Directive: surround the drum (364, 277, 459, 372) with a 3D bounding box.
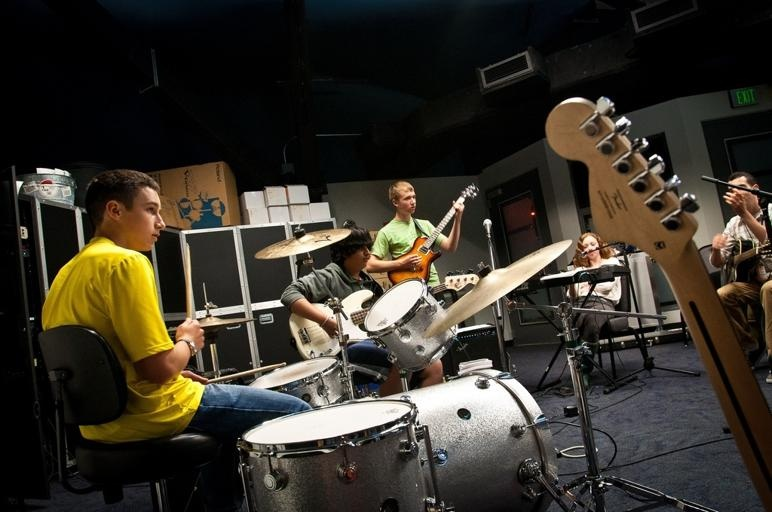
[{"bbox_3d":[0.205,0.534,3.671,0.465,0.368,0.462,-29,-9,-5],"label":"drum"}]

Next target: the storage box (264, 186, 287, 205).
[{"bbox_3d":[-1.496,-0.815,7.574,0.243,0.224,0.129,-7,3,-19],"label":"storage box"}]

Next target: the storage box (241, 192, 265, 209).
[{"bbox_3d":[-1.804,-0.758,7.595,0.256,0.179,0.258,-6,-2,38],"label":"storage box"}]

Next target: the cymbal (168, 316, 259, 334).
[{"bbox_3d":[-1.595,0.635,5.145,0.660,0.147,0.646,-7,-3,-16],"label":"cymbal"}]

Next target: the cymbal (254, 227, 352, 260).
[{"bbox_3d":[-0.764,-0.104,4.546,0.646,0.123,0.633,-5,-12,-35],"label":"cymbal"}]

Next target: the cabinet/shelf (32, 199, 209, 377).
[{"bbox_3d":[-1.393,0.134,2.965,0.882,1.073,0.695,-7,-2,41],"label":"cabinet/shelf"}]

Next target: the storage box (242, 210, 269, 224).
[{"bbox_3d":[-1.743,-0.537,7.515,0.236,0.228,0.242,-15,3,7],"label":"storage box"}]

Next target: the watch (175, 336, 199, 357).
[{"bbox_3d":[-1.012,0.464,2.824,0.027,0.092,0.100,-29,-19,33],"label":"watch"}]

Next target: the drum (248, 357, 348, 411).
[{"bbox_3d":[-0.464,0.781,3.453,0.368,0.127,0.346,-16,1,0],"label":"drum"}]

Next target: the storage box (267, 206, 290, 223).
[{"bbox_3d":[-1.435,-0.562,7.592,0.236,0.224,0.246,-15,3,2],"label":"storage box"}]

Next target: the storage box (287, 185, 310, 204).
[{"bbox_3d":[-1.203,-0.854,7.684,0.279,0.200,0.259,-4,-5,-16],"label":"storage box"}]

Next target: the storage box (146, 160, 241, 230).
[{"bbox_3d":[-2.680,-0.701,7.973,0.721,0.877,1.296,-9,-6,-29],"label":"storage box"}]

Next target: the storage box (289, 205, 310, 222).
[{"bbox_3d":[-1.188,-0.578,7.634,0.196,0.184,0.103,-12,-9,-41],"label":"storage box"}]

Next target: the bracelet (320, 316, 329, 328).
[{"bbox_3d":[-0.456,0.497,4.207,0.064,0.018,0.064,-51,2,-21],"label":"bracelet"}]

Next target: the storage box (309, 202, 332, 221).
[{"bbox_3d":[-0.917,-0.623,7.865,0.259,0.255,0.255,-4,-2,-16],"label":"storage box"}]
